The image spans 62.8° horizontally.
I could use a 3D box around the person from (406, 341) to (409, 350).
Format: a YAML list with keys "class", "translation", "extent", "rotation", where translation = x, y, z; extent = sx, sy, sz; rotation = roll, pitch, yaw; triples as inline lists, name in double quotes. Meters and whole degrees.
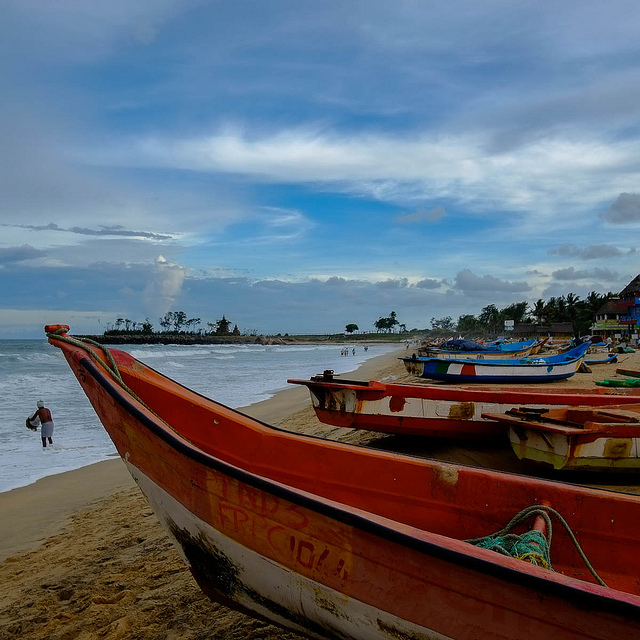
- class: "person"
  translation: [13.974, 4.123, 82.979]
  extent: [0.367, 1.042, 0.313]
  rotation: [6, -35, -18]

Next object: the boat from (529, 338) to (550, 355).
- class: "boat"
  translation: [9.616, 1.119, 22.552]
  extent: [0.653, 0.365, 2.217]
  rotation: [2, 13, 38]
